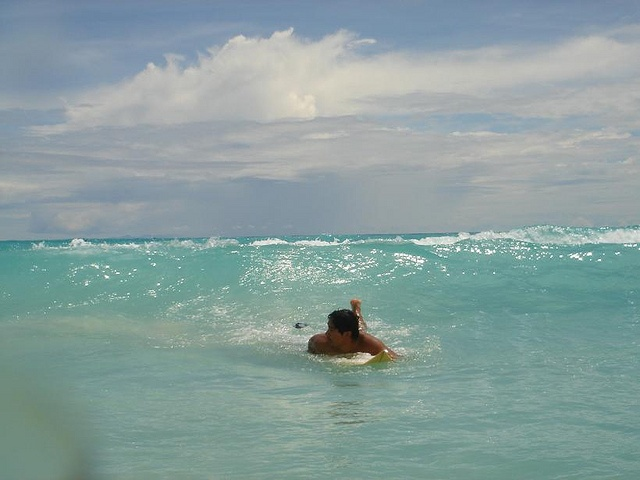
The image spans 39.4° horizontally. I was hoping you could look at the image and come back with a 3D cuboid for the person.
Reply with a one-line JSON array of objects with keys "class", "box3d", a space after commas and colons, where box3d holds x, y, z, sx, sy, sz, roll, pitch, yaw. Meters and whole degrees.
[{"class": "person", "box3d": [0.572, 2.149, 20.624, 1.836, 1.075, 0.655, -2, 26, 9]}]
